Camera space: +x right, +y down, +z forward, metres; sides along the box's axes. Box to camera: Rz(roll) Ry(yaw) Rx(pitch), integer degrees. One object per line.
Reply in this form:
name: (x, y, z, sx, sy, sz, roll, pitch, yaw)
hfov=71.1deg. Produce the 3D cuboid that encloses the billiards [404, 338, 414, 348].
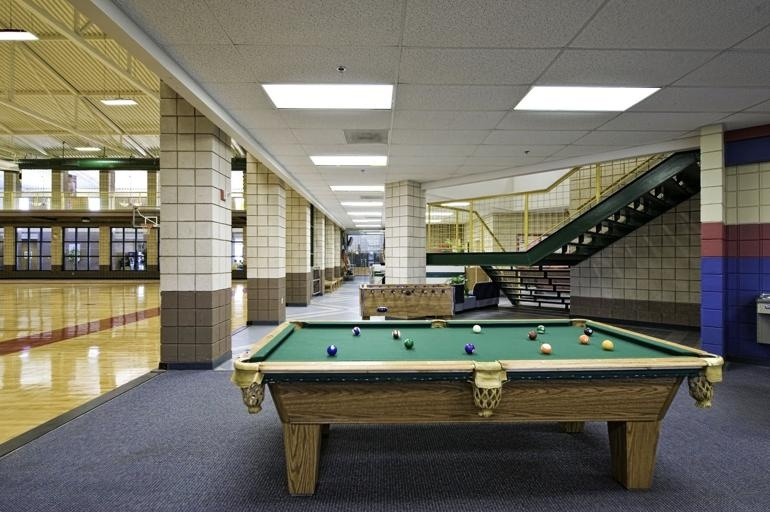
billiards: (0.299, 1.060, 6.544, 0.102, 0.091, 0.095, 28, -15, 6)

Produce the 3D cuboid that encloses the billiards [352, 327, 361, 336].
billiards: (-0.363, 0.984, 6.987, 0.110, 0.060, 0.089, -5, -3, 21)

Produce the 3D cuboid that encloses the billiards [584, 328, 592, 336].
billiards: (2.652, 0.989, 7.026, 0.098, 0.065, 0.089, 0, 1, 12)

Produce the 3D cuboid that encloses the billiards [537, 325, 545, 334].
billiards: (2.058, 0.969, 7.108, 0.085, 0.086, 0.087, 52, -23, -23)

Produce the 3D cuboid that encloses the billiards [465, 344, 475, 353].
billiards: (1.018, 1.098, 6.383, 0.114, 0.093, 0.108, 5, -9, 20)

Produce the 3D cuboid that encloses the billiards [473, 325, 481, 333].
billiards: (1.202, 0.961, 7.066, 0.105, 0.082, 0.091, 10, -15, 5)

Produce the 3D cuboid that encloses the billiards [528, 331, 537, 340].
billiards: (1.853, 1.008, 6.827, 0.091, 0.098, 0.110, -5, -19, 30)

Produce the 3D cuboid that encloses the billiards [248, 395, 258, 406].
billiards: (-1.417, 1.564, 5.857, 0.101, 0.095, 0.031, -2, -2, -23)
